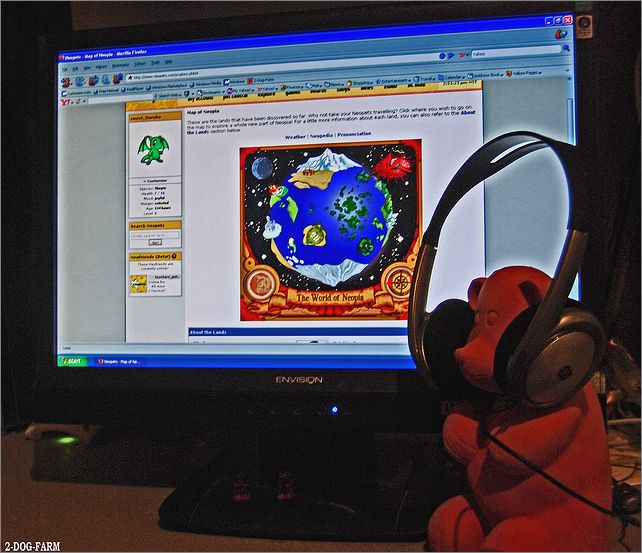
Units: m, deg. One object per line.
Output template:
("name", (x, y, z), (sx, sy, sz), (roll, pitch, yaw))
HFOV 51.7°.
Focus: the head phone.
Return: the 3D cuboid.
("head phone", (0.181, -0.004, 0.674), (0.183, 0.287, 0.160), (0, 6, 7))
